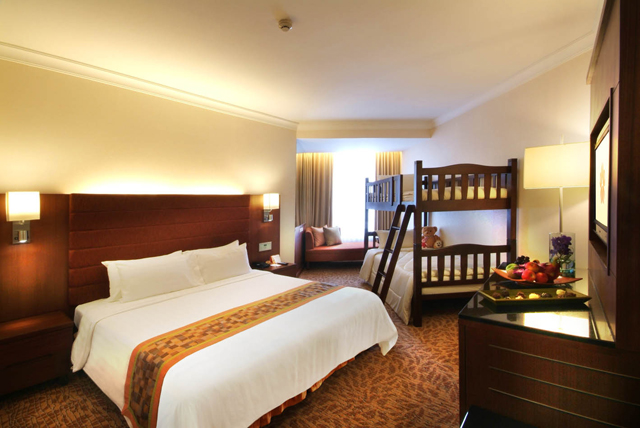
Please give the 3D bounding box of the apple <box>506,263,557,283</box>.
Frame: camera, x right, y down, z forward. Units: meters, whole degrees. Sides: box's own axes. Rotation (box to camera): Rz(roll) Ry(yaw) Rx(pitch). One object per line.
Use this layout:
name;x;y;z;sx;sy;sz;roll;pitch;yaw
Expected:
apple;2.006;0.550;3.982;0.245;0.102;0.254;-8;-2;23

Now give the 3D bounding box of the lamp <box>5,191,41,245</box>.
lamp;-3.168;0.050;4.589;0.315;0.606;0.142;-3;2;-38

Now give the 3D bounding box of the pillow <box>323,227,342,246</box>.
pillow;0.245;0.479;8.789;0.123;0.241;0.361;-3;-1;40

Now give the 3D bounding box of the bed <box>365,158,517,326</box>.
bed;1.638;0.402;6.998;1.530;2.267;2.869;0;2;-7

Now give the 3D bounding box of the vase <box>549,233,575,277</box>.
vase;2.561;0.388;4.541;0.304;0.499;0.310;2;17;42
